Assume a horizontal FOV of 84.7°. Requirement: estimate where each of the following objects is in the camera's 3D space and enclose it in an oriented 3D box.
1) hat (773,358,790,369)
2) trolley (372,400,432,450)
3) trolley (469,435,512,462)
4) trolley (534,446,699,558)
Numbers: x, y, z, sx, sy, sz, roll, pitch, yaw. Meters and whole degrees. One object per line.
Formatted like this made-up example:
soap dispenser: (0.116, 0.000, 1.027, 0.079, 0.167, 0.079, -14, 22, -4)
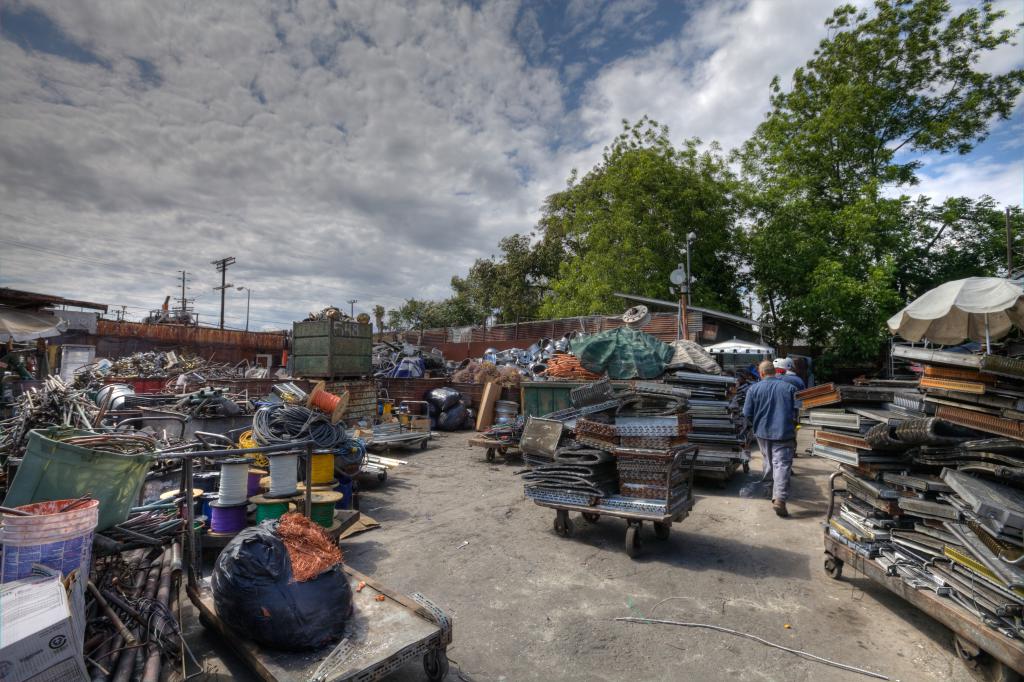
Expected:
hat: (5.033, 0.407, 10.492, 0.293, 0.204, 0.249, -1, -1, -11)
trolley: (-2.653, 2.072, 13.832, 1.031, 0.625, 1.394, 0, 0, 14)
trolley: (-0.412, 2.437, 12.840, 0.821, 0.537, 0.876, -8, 12, -43)
trolley: (1.507, 2.183, 8.118, 2.084, 1.223, 1.341, -6, -8, 39)
